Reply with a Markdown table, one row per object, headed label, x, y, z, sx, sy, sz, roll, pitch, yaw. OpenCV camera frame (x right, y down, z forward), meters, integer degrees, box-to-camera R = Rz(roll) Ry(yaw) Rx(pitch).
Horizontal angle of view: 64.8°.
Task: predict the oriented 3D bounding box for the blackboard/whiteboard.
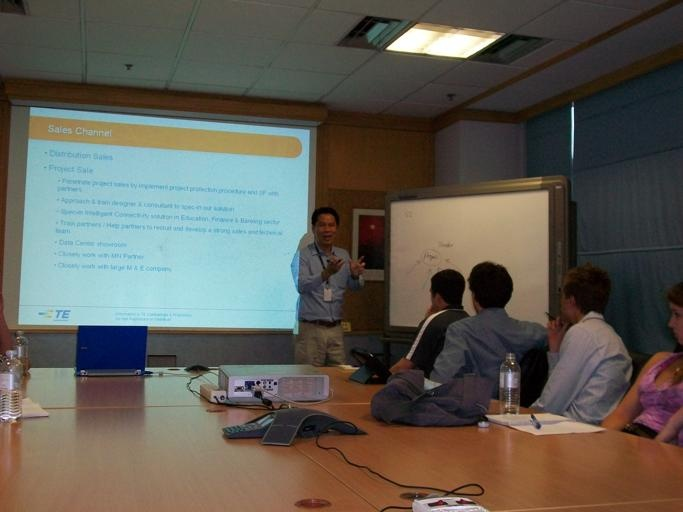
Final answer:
| label | x | y | z | sx | sy | sz | roll | pitch | yaw |
| --- | --- | --- | --- | --- | --- | --- | --- | --- | --- |
| blackboard/whiteboard | 1.188 | -0.026 | 4.625 | 1.523 | 1.114 | 0.204 | -5 | -9 | 43 |

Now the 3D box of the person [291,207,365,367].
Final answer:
| label | x | y | z | sx | sy | sz | roll | pitch | yaw |
| --- | --- | --- | --- | --- | --- | --- | --- | --- | --- |
| person | -0.119 | 0.268 | 4.891 | 0.597 | 1.014 | 0.849 | 1 | -1 | -21 |

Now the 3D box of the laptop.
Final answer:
| label | x | y | z | sx | sy | sz | roll | pitch | yaw |
| --- | --- | --- | --- | --- | --- | --- | --- | --- | --- |
| laptop | -1.409 | 0.574 | 3.324 | 0.428 | 0.303 | 0.317 | 2 | -5 | -17 |

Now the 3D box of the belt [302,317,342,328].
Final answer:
| label | x | y | z | sx | sy | sz | roll | pitch | yaw |
| --- | --- | --- | --- | --- | --- | --- | --- | --- | --- |
| belt | -0.199 | 0.605 | 4.902 | 0.362 | 0.047 | 0.075 | 1 | -1 | -10 |
